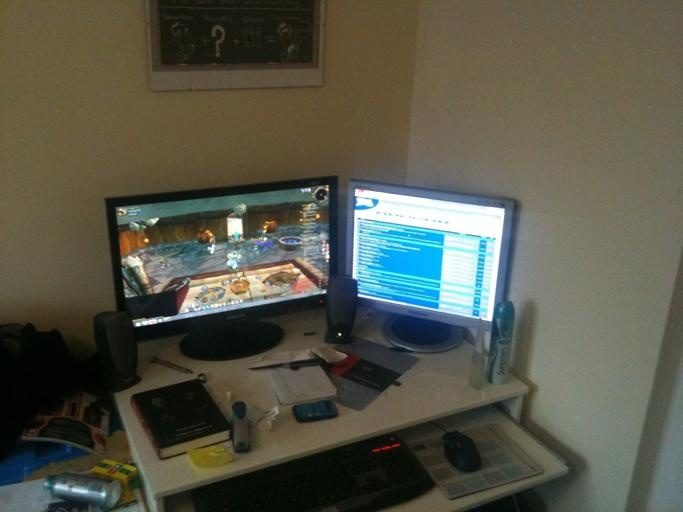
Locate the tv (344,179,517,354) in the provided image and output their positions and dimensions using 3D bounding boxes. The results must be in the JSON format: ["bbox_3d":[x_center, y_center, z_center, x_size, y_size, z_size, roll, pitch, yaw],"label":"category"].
[{"bbox_3d":[0.321,0.034,1.951,0.499,0.450,0.273,12,29,22],"label":"tv"}]

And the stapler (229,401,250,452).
[{"bbox_3d":[-0.273,0.480,1.599,0.051,0.071,0.137,0,44,-7],"label":"stapler"}]

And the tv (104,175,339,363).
[{"bbox_3d":[-0.416,0.039,1.881,0.590,0.415,0.187,-10,20,-26],"label":"tv"}]

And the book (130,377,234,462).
[{"bbox_3d":[-0.464,0.472,1.651,0.219,0.060,0.286,-12,26,-28],"label":"book"}]

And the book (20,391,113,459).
[{"bbox_3d":[-0.826,0.516,1.727,0.214,0.094,0.196,-4,23,-11],"label":"book"}]
